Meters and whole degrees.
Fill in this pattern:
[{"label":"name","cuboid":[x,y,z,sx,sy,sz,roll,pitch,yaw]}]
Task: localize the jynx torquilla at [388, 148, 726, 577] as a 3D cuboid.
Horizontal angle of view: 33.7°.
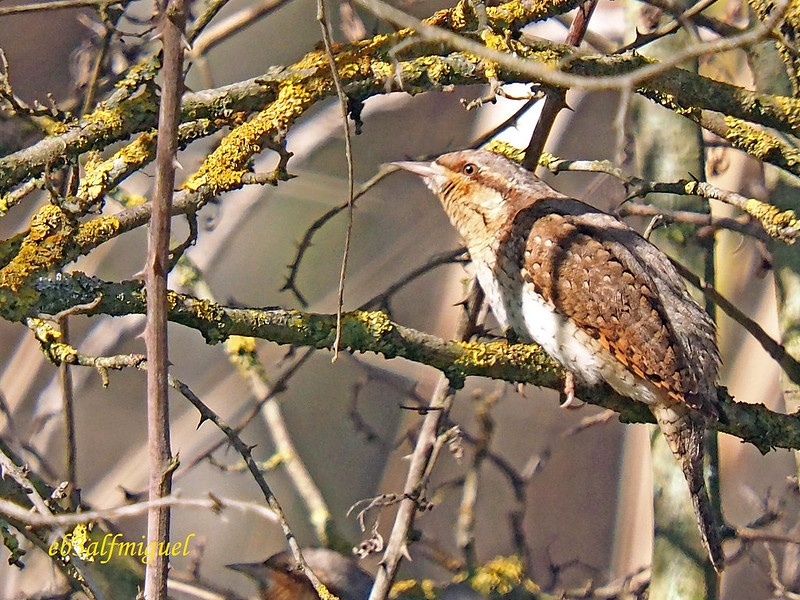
[{"label":"jynx torquilla","cuboid":[0.919,0.108,6.659,2.215,1.068,0.718,30,3,24]}]
